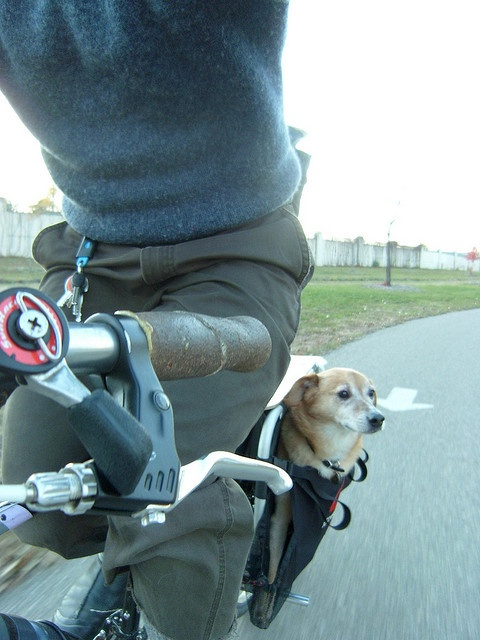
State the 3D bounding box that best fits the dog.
[{"bbox_3d":[0.524,0.849,2.973,0.566,0.951,0.717,-1,12,-3],"label":"dog"}]
